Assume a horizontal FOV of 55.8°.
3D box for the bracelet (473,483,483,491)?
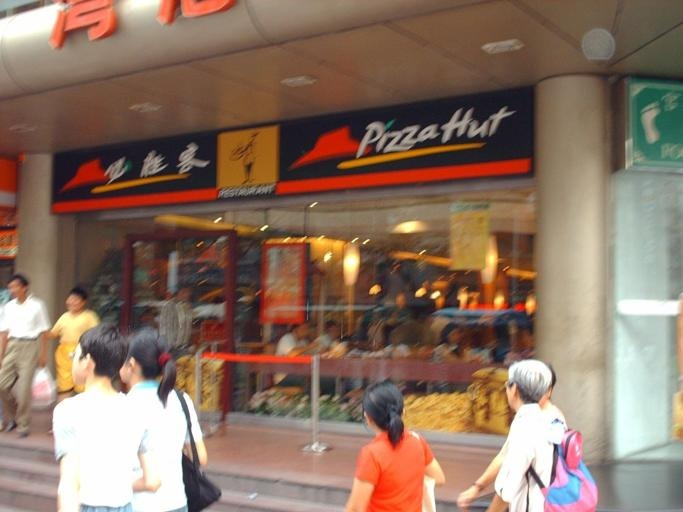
[{"bbox_3d":[0.883,1.482,4.170,0.058,0.050,0.083,-1,-4,15],"label":"bracelet"}]
